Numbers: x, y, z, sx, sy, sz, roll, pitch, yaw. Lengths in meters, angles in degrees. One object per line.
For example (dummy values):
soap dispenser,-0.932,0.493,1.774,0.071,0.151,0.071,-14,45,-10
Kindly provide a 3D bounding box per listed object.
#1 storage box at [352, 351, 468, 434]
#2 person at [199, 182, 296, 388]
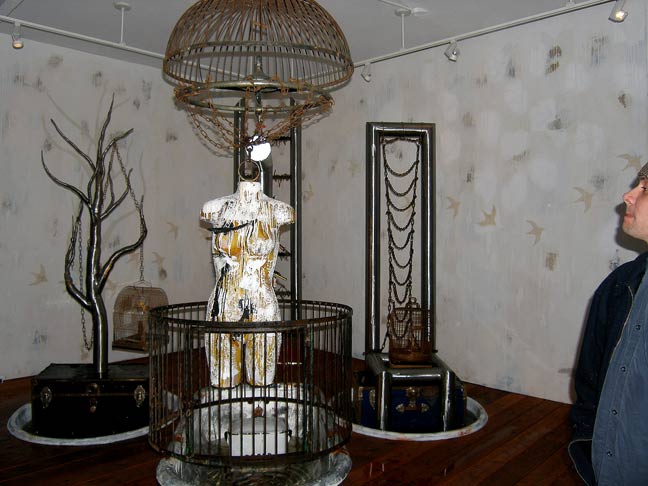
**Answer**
storage box,0.524,0.872,4.981,0.435,0.338,0.486,2,-6,-13
person,-0.435,0.228,4.415,0.538,1.155,0.715,-1,1,-2
